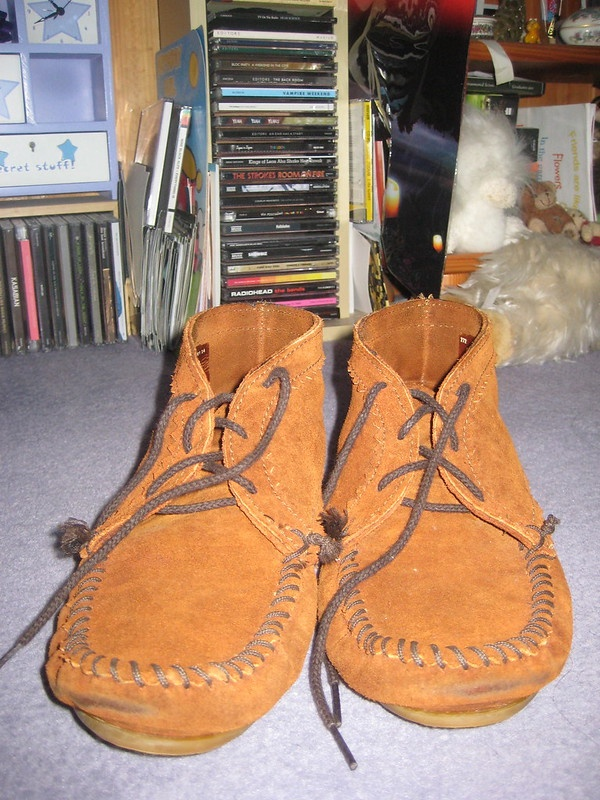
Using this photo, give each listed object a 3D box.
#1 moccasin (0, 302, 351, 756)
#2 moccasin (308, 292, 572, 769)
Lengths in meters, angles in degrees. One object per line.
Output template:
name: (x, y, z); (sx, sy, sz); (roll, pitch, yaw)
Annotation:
moccasin: (-0.066, 0.070, 0.528); (0.184, 0.119, 0.333); (7, 34, 5)
moccasin: (0.098, 0.079, 0.524); (0.175, 0.123, 0.343); (-1, 27, 7)
